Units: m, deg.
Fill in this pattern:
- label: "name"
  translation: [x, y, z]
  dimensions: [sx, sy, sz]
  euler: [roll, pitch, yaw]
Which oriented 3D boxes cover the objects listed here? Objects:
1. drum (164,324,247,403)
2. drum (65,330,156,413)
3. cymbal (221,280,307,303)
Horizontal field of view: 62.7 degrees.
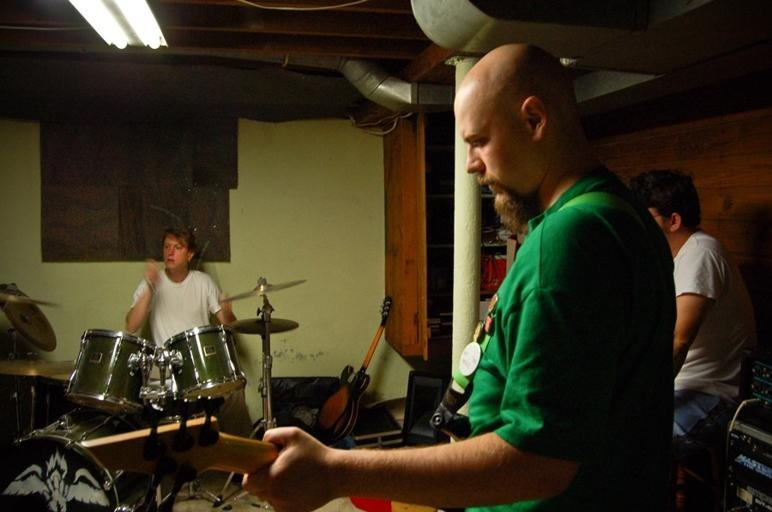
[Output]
- label: "drum"
  translation: [-1.252, 0.712, 4.283]
  dimensions: [0.512, 0.479, 0.525]
  euler: [-36, -24, 33]
- label: "drum"
  translation: [-1.891, 0.788, 4.235]
  dimensions: [0.521, 0.486, 0.509]
  euler: [4, -20, -3]
- label: "cymbal"
  translation: [-0.946, 0.262, 4.835]
  dimensions: [0.351, 0.076, 0.350]
  euler: [-16, -6, -18]
